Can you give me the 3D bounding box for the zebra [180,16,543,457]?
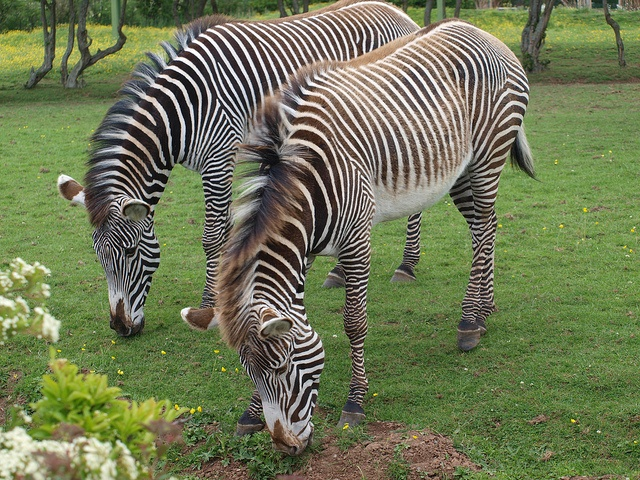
[{"bbox_3d":[0.688,-0.187,10.036,1.735,4.120,6.747,7,25,35],"label":"zebra"}]
